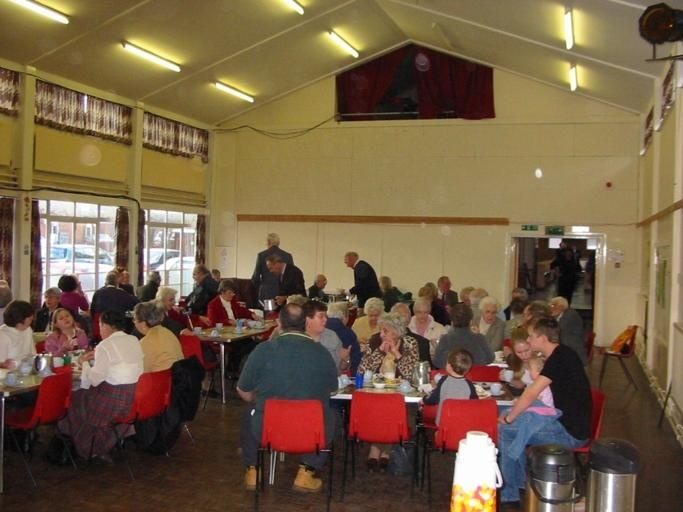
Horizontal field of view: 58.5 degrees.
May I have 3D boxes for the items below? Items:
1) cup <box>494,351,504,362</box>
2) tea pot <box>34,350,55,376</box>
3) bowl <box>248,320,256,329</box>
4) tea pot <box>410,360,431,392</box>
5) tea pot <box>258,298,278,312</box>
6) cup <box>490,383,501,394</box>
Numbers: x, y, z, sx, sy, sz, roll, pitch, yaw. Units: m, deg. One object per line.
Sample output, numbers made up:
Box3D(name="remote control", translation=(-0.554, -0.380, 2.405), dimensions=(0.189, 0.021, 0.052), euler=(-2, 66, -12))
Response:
Box3D(name="cup", translation=(2.006, 1.277, 7.719), dimensions=(0.100, 0.126, 0.112), euler=(2, -7, -12))
Box3D(name="tea pot", translation=(-3.005, 1.103, 6.288), dimensions=(0.239, 0.258, 0.231), euler=(3, -8, 0))
Box3D(name="bowl", translation=(-1.334, 1.033, 9.221), dimensions=(0.121, 0.121, 0.108), euler=(-1, 4, -11))
Box3D(name="tea pot", translation=(0.805, 1.182, 6.032), dimensions=(0.237, 0.245, 0.195), euler=(5, -7, -40))
Box3D(name="tea pot", translation=(-1.210, 0.843, 10.232), dimensions=(0.276, 0.204, 0.170), euler=(-4, -1, 16))
Box3D(name="cup", translation=(1.540, 1.324, 6.052), dimensions=(0.082, 0.074, 0.090), euler=(0, -9, 0))
